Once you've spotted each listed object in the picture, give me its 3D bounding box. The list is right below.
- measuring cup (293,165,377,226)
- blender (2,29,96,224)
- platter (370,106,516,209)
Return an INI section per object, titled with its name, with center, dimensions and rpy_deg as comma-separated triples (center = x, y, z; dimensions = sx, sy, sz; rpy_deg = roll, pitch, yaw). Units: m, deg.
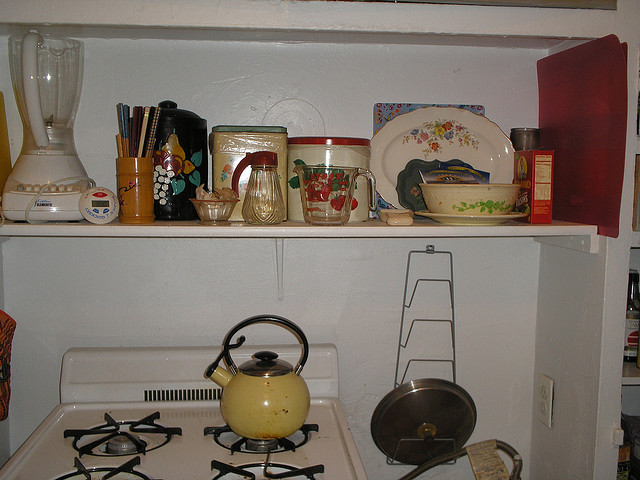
[measuring cup]
center = 0.039, -0.114, 1.509
dimensions = 0.169, 0.136, 0.148
rpy_deg = 0, 2, -6
[blender]
center = -0.718, -0.299, 1.491
dimensions = 0.214, 0.485, 0.323
rpy_deg = -5, 11, -21
[platter]
center = 0.376, -0.195, 1.770
dimensions = 0.401, 0.057, 0.482
rpy_deg = 22, -31, -9
